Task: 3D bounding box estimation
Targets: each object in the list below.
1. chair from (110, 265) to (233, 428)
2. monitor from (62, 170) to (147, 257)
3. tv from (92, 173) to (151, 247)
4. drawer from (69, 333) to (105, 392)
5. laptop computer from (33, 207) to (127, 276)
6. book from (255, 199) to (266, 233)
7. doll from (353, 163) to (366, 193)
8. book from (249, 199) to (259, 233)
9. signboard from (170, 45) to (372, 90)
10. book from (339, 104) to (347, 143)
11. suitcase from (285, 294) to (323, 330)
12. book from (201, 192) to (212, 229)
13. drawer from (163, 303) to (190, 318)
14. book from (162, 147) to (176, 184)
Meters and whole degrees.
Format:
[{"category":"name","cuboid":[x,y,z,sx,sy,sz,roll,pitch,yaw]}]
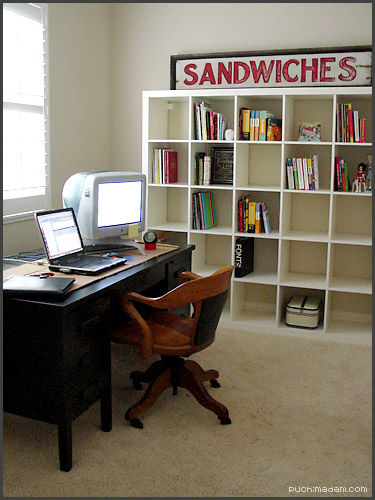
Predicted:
[{"category":"chair","cuboid":[-0.069,0.436,2.098,0.609,0.757,0.597,8,12,34]},{"category":"monitor","cuboid":[-0.487,-0.235,2.546,0.486,0.503,0.502,10,15,26]},{"category":"tv","cuboid":[-0.456,-0.299,2.512,0.390,0.375,0.214,-12,26,-41]},{"category":"drawer","cuboid":[-0.407,0.445,1.659,0.039,0.064,0.291,4,9,12]},{"category":"laptop computer","cuboid":[-0.533,-0.029,2.055,0.358,0.286,0.363,10,13,12]},{"category":"book","cuboid":[0.569,-0.257,3.261,0.118,0.213,0.220,0,13,12]},{"category":"doll","cuboid":[1.249,-0.527,3.006,0.074,0.210,0.189,3,7,23]},{"category":"book","cuboid":[0.518,-0.260,3.253,0.118,0.210,0.215,1,9,4]},{"category":"signboard","cuboid":[0.637,-1.411,3.248,1.471,0.330,0.030,4,7,20]},{"category":"book","cuboid":[1.098,-0.909,2.941,0.027,0.279,0.206,-2,12,13]},{"category":"suitcase","cuboid":[0.934,0.488,3.336,0.269,0.189,0.351,4,8,26]},{"category":"book","cuboid":[0.158,-0.341,3.453,0.057,0.241,0.225,-2,4,13]},{"category":"drawer","cuboid":[-0.056,0.392,2.678,0.143,0.040,0.155,5,6,25]},{"category":"book","cuboid":[-0.163,-0.710,3.511,0.152,0.301,0.294,1,6,10]}]
